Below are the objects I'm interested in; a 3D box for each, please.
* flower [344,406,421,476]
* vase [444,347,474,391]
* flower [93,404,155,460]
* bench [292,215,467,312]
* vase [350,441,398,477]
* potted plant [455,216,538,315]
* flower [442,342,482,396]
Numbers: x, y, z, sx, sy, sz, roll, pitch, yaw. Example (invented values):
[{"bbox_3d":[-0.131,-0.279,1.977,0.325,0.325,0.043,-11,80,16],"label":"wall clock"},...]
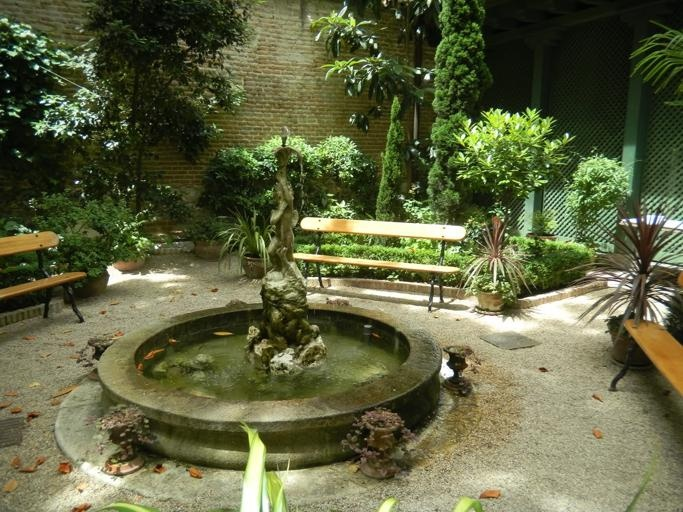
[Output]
[{"bbox_3d":[0.273,1.453,3.827,0.614,0.362,0.492,1,-8,4],"label":"flower"},{"bbox_3d":[1.139,1.052,4.857,0.271,0.476,0.361,7,23,19],"label":"vase"},{"bbox_3d":[-1.662,1.374,3.849,0.380,0.423,0.256,6,23,17],"label":"flower"},{"bbox_3d":[0.655,0.018,7.849,2.636,1.142,1.381,11,24,30],"label":"bench"},{"bbox_3d":[0.234,1.557,3.846,0.317,0.268,0.277,-5,19,-9],"label":"vase"},{"bbox_3d":[2.192,0.093,7.102,0.995,1.201,0.955,-4,10,-42],"label":"potted plant"},{"bbox_3d":[1.063,1.068,4.941,0.555,0.482,0.498,0,8,4],"label":"flower"}]
